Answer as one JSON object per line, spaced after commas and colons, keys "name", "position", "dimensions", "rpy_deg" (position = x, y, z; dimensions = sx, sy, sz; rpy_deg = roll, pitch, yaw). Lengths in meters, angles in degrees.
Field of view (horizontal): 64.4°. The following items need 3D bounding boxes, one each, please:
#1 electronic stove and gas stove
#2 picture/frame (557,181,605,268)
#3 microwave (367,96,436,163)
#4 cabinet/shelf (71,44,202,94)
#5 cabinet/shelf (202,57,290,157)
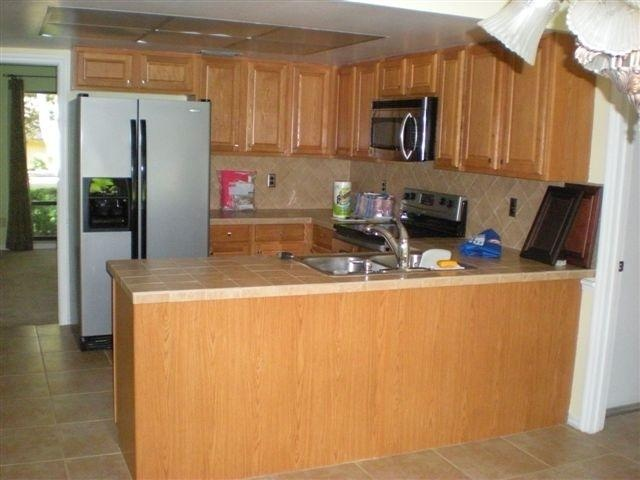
{"name": "electronic stove and gas stove", "position": [0.900, -0.215, 4.454], "dimensions": [0.644, 0.291, 0.796], "rpy_deg": [0, 7, -14]}
{"name": "picture/frame", "position": [1.701, -0.102, 3.379], "dimensions": [0.155, 0.541, 0.278], "rpy_deg": [-3, 13, -25]}
{"name": "microwave", "position": [0.685, -0.957, 4.386], "dimensions": [0.244, 0.542, 0.706], "rpy_deg": [-4, 12, -27]}
{"name": "cabinet/shelf", "position": [-1.684, -1.591, 4.868], "dimensions": [1.194, 0.346, 0.326], "rpy_deg": [5, 15, 5]}
{"name": "cabinet/shelf", "position": [-0.921, -1.351, 5.173], "dimensions": [0.585, 0.930, 1.156], "rpy_deg": [14, 19, 34]}
